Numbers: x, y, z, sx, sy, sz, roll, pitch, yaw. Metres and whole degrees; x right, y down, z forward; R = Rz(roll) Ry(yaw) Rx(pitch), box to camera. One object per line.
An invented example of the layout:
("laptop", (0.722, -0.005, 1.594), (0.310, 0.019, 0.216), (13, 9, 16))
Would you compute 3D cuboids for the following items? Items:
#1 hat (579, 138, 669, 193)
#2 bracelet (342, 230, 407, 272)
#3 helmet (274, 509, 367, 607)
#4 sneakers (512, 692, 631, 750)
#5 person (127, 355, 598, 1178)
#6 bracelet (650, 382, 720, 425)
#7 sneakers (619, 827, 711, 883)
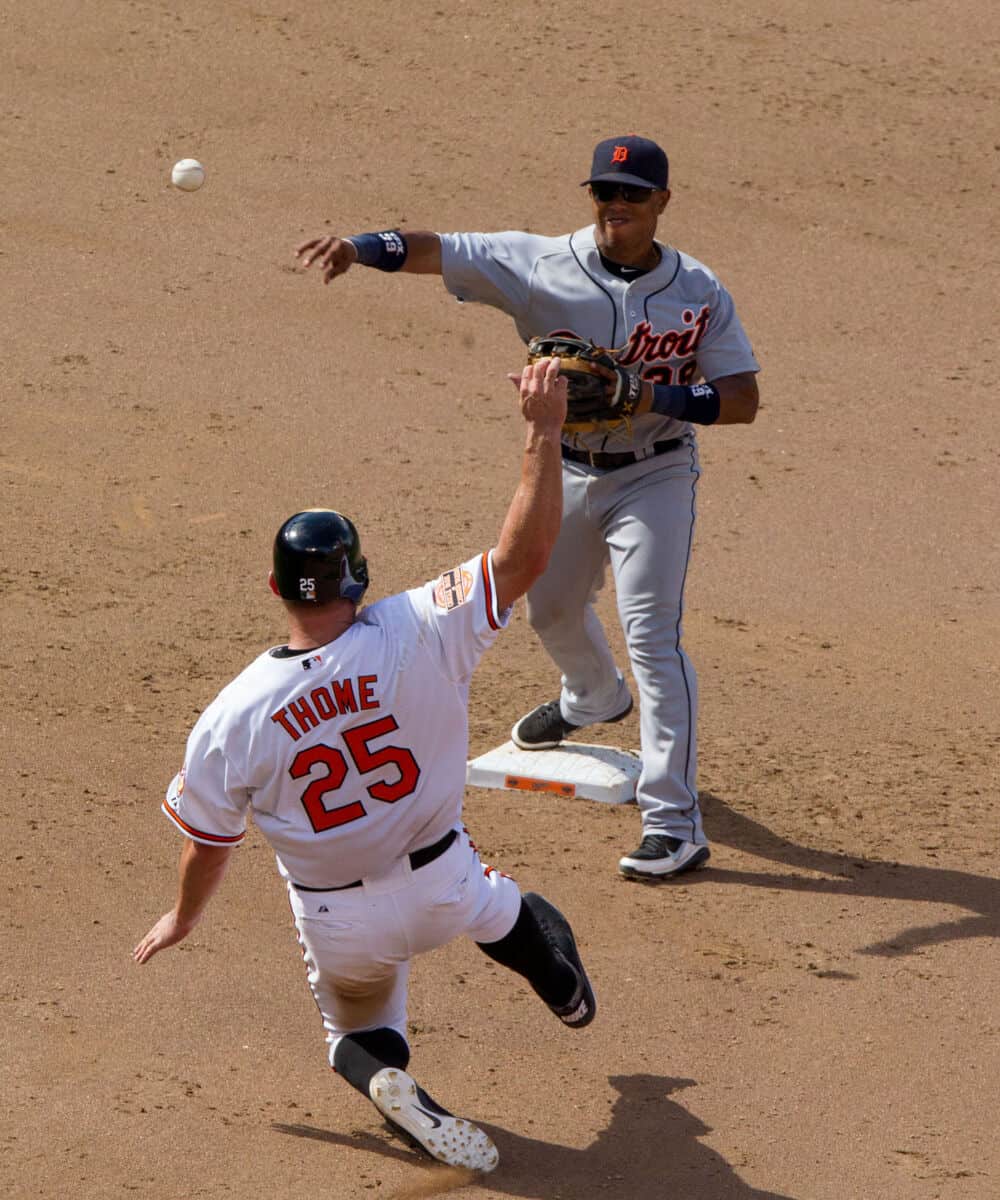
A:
("hat", (0.415, -1.391, 6.405), (0.187, 0.125, 0.243), (8, 6, 20))
("bracelet", (-0.395, -1.119, 6.385), (0.076, 0.092, 0.283), (-21, -4, 17))
("helmet", (-0.408, -0.099, 4.872), (0.196, 0.189, 0.243), (-1, 30, 6))
("sneakers", (0.240, 0.461, 7.334), (0.495, 0.145, 0.181), (-12, -9, 13))
("person", (-0.181, 0.348, 4.985), (0.972, 1.804, 1.004), (21, 36, 21))
("bracelet", (0.569, -0.612, 6.217), (0.141, 0.058, 0.173), (11, 3, -4))
("sneakers", (0.517, 0.834, 6.494), (0.325, 0.133, 0.110), (-2, 4, -30))
